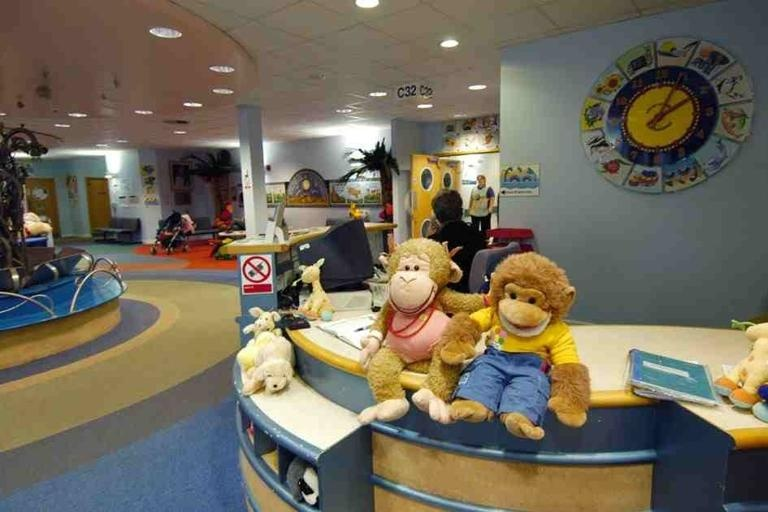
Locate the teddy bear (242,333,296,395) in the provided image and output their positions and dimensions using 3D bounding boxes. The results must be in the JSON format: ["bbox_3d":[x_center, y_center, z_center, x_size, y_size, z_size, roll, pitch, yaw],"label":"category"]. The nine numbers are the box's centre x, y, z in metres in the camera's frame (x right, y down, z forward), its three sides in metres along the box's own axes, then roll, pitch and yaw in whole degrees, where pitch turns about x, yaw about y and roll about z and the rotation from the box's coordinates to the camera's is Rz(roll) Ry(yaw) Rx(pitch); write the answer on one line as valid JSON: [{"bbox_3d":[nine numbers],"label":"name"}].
[{"bbox_3d":[-0.899,0.808,3.876,0.415,0.382,0.337,-5,9,-3],"label":"teddy bear"}]

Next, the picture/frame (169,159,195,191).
[{"bbox_3d":[-5.906,-2.399,14.806,0.070,0.999,0.919,11,11,34],"label":"picture/frame"}]

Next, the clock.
[{"bbox_3d":[2.915,-1.627,5.414,1.469,1.502,1.526,0,-8,24],"label":"clock"}]

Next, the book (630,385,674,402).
[{"bbox_3d":[1.641,0.845,3.139,0.122,0.038,0.125,9,2,20],"label":"book"}]

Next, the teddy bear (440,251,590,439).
[{"bbox_3d":[0.824,0.525,3.214,0.897,0.870,1.167,4,18,18],"label":"teddy bear"}]

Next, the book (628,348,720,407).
[{"bbox_3d":[1.799,0.769,3.204,0.347,0.085,0.351,9,13,9],"label":"book"}]

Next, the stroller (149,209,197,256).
[{"bbox_3d":[-5.192,-0.515,12.272,0.597,0.910,0.902,5,7,-8],"label":"stroller"}]

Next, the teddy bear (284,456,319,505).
[{"bbox_3d":[-0.543,1.521,3.437,0.101,0.264,0.215,-15,19,-42],"label":"teddy bear"}]

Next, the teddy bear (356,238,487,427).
[{"bbox_3d":[0.268,0.454,3.368,0.924,1.091,0.941,6,14,21],"label":"teddy bear"}]

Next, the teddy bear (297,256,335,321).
[{"bbox_3d":[-0.579,0.258,4.249,0.298,0.450,0.476,-5,9,-3],"label":"teddy bear"}]
